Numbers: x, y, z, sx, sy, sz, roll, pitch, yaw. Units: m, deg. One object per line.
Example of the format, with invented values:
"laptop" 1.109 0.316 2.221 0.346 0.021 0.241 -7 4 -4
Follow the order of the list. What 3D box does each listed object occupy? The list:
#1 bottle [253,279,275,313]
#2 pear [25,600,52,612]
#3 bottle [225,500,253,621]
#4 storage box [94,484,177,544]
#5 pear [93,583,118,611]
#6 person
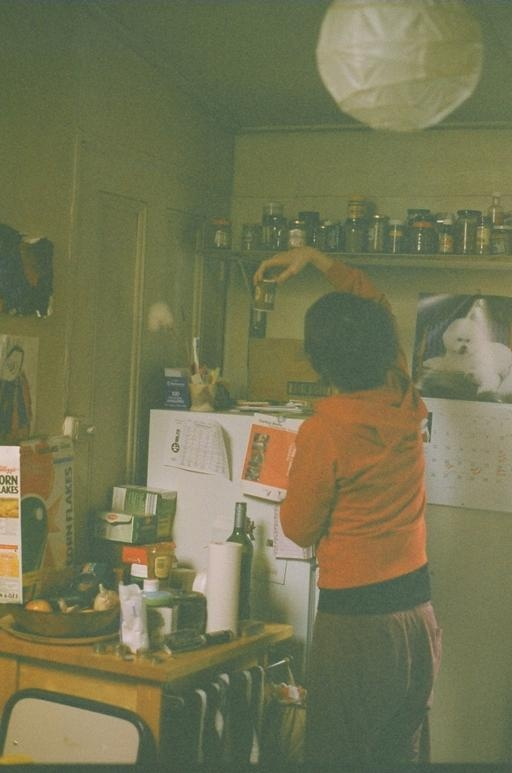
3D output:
"bottle" 0.024 -0.236 2.077 0.074 0.067 0.068 1 1 7
"pear" -0.442 0.451 1.640 0.031 0.025 0.029 -5 1 23
"bottle" -0.037 0.414 1.878 0.065 0.271 0.196 4 -1 0
"storage box" -0.311 0.322 2.056 0.163 0.087 0.160 3 -1 35
"pear" -0.323 0.444 1.683 0.039 0.045 0.018 -2 37 3
"person" 0.200 0.259 1.437 0.299 0.835 0.162 4 -1 -9
